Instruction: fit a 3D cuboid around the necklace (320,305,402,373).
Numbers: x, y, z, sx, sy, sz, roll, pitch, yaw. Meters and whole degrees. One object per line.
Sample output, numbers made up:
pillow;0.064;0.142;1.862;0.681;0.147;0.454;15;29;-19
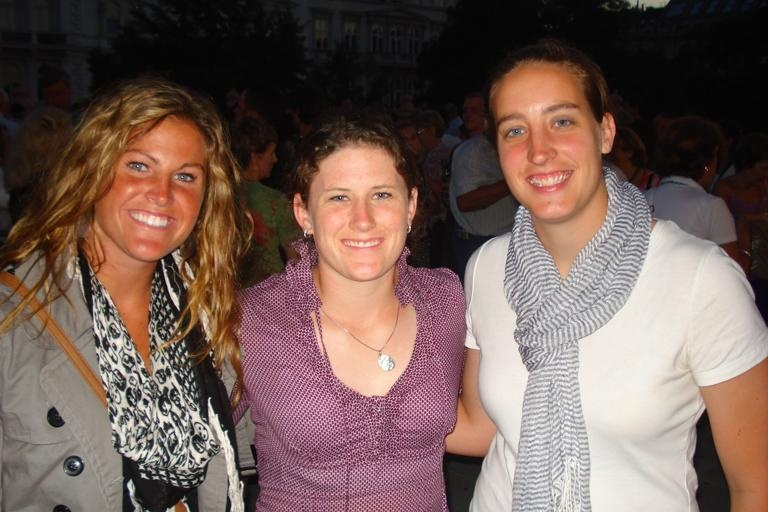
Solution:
necklace;-0.143;0.446;3.432;0.246;0.294;0.031;-28;-17;-17
